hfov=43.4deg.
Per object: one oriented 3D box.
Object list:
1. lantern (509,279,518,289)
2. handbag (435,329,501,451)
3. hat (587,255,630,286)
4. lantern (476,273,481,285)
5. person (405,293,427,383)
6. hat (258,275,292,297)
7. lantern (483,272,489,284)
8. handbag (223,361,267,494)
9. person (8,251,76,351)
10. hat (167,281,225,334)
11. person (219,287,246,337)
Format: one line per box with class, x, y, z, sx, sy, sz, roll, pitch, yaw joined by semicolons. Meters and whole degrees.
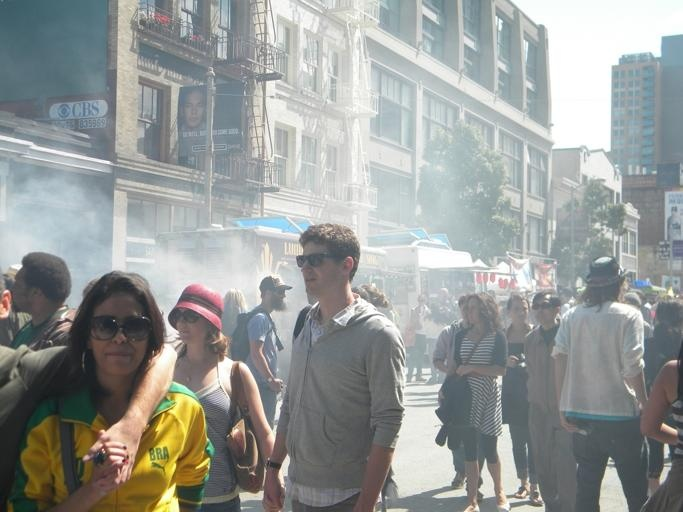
lantern;5.973;0.960;29.798;0.093;0.342;0.240;-6;0;31
handbag;1.338;1.407;9.062;0.885;1.128;0.401;-4;1;-20
hat;2.407;0.122;7.796;0.241;0.137;0.330;-4;4;29
lantern;4.043;0.649;25.312;0.068;0.314;0.213;-1;0;31
person;1.694;1.996;19.585;0.479;1.717;1.316;-4;0;5
hat;-0.777;0.338;9.753;0.301;0.174;0.193;-8;0;2
lantern;4.320;0.657;25.791;0.098;0.293;0.309;-4;0;22
handbag;-0.723;1.284;6.405;0.251;0.948;0.263;-4;1;0
person;-2.374;0.368;6.714;0.404;0.778;0.887;2;-4;-4
hat;-1.092;0.358;6.582;0.324;0.246;0.386;12;-30;30
person;-1.652;0.712;12.464;0.321;0.278;0.994;-7;-35;-22
